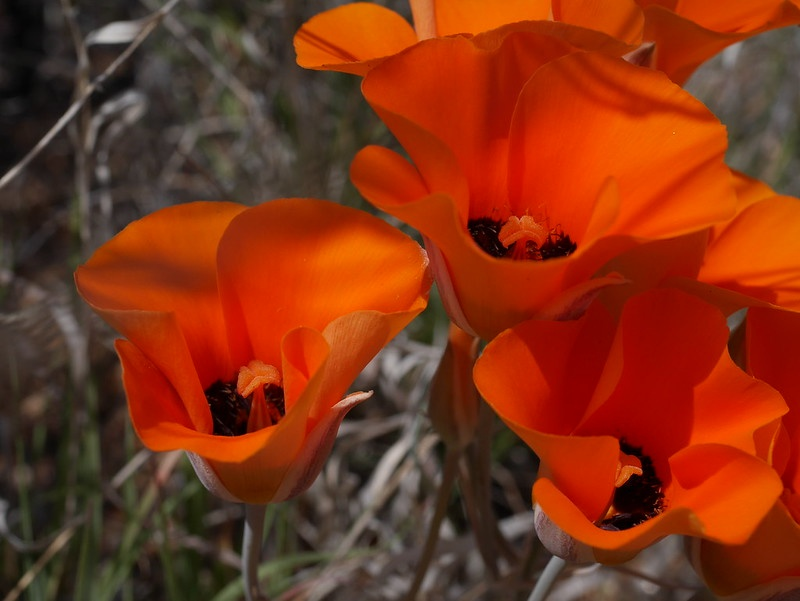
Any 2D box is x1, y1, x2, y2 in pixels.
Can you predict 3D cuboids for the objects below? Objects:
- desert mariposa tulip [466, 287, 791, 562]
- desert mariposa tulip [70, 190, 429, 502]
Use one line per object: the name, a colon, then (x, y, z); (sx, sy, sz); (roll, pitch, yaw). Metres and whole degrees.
desert mariposa tulip: (0.151, 0.074, 0.561); (0.189, 0.203, 0.099); (-3, -4, -14)
desert mariposa tulip: (-0.096, 0.004, 0.584); (0.200, 0.153, 0.225); (15, 18, 26)
